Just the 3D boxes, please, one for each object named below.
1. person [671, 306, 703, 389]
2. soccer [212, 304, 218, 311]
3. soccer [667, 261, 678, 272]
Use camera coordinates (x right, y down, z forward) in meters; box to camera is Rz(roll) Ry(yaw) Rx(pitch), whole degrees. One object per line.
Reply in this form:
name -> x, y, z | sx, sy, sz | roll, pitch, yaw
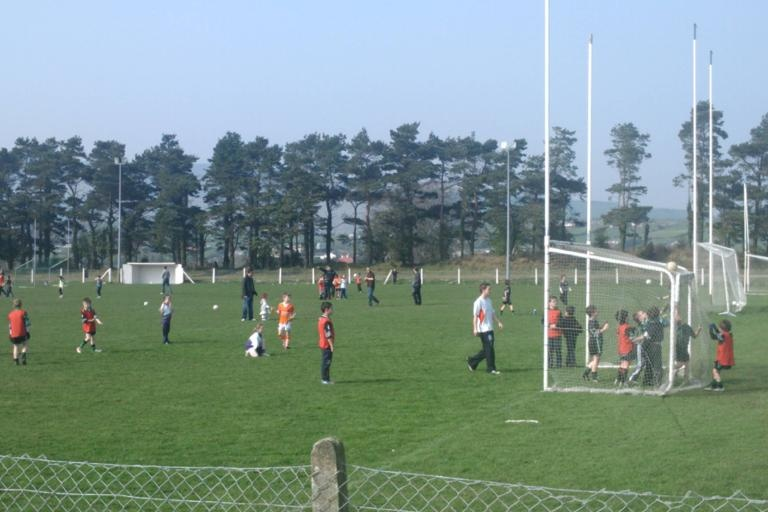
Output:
person -> 14.862, 4.511, 66.684 | 1.160, 3.811, 1.308 | 1, -5, -15
soccer -> -10.636, 3.200, 84.715 | 0.502, 0.410, 0.552 | -1, 5, -18
soccer -> 14.265, 0.490, 66.777 | 0.518, 0.277, 0.519 | -11, -30, 10
